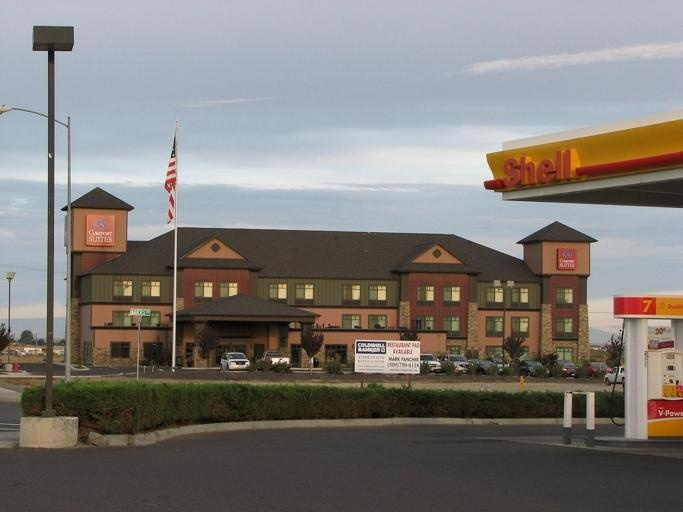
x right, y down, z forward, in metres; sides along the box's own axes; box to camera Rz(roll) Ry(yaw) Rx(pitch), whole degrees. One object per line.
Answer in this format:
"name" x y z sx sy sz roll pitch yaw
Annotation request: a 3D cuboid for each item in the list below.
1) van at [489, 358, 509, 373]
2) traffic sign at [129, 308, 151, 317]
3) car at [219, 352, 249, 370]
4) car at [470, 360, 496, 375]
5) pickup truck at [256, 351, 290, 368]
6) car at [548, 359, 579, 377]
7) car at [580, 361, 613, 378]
"van" 9.639 6.736 80.167 0.964 0.921 6.229 -2 -7 6
"traffic sign" -10.111 2.847 66.021 1.447 0.401 1.584 1 -3 -8
"car" -5.972 5.990 74.185 1.513 1.048 2.474 0 -7 -8
"car" 8.683 6.855 80.439 0.818 0.691 1.706 1 -7 -20
"pickup truck" -3.854 6.111 77.601 0.917 0.834 1.692 2 1 -12
"car" 13.806 6.976 81.119 1.013 0.843 1.796 1 -8 -14
"car" 15.829 7.035 82.015 1.100 0.853 2.422 -1 -10 -9
